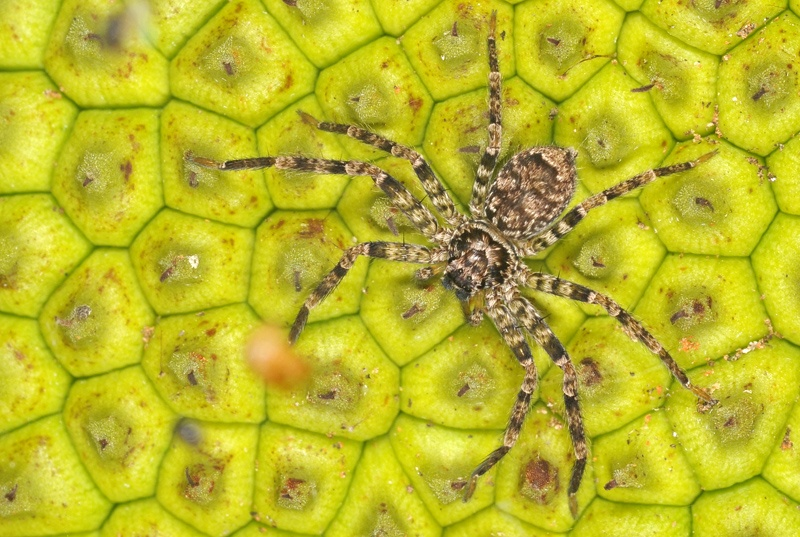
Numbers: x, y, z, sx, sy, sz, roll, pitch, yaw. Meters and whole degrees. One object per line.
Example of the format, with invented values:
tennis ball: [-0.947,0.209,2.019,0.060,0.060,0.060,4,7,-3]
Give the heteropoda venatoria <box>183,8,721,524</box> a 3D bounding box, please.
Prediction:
heteropoda venatoria: [0.544,-0.188,5.390,2.180,0.913,2.757,-40,83,-3]
